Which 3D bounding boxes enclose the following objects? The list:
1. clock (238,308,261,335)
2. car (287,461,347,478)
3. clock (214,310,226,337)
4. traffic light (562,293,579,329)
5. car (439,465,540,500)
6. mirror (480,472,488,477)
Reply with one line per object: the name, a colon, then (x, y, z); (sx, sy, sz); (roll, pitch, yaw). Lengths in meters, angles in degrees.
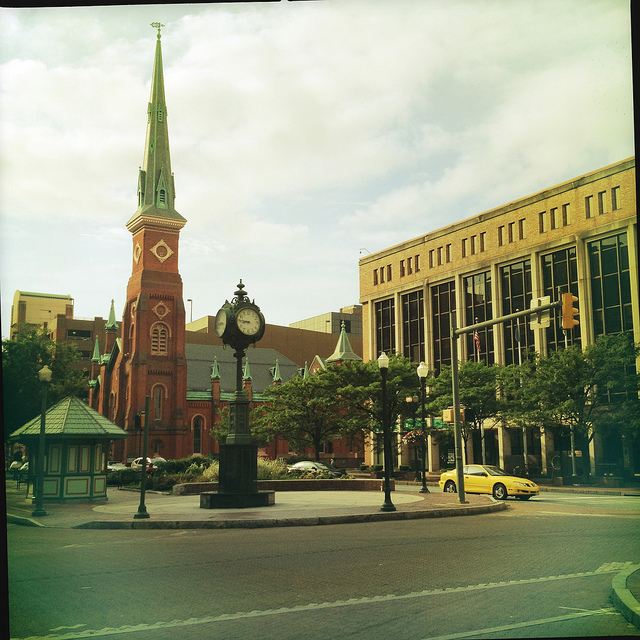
clock: (-2.174, 0.026, 26.124); (0.798, 0.825, 0.178); (6, -9, -41)
car: (-0.150, 7.235, 39.923); (2.510, 0.832, 1.177); (-9, -10, 26)
clock: (-3.023, 0.099, 25.817); (0.138, 0.796, 0.714); (4, 12, -20)
traffic light: (6.154, -0.191, 21.079); (0.351, 0.954, 2.416); (-2, -7, 16)
car: (6.041, 5.735, 30.478); (1.516, 1.042, 3.463); (8, -17, -38)
mirror: (5.807, 5.502, 30.335); (0.155, 0.146, 0.419); (2, -7, -16)
